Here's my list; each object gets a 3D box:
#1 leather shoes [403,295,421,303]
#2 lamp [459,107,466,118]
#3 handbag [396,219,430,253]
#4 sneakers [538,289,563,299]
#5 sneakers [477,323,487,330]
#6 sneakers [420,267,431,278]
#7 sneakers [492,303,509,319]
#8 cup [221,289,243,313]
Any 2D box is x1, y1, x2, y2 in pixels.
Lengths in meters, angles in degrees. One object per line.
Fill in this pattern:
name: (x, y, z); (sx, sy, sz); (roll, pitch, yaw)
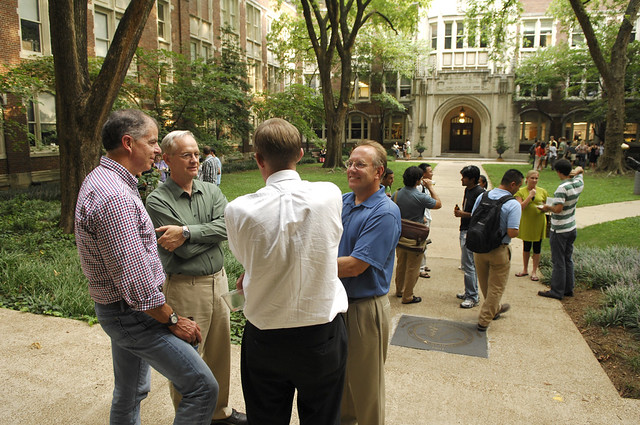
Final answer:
leather shoes: (1.659, 1.594, 9.152); (0.317, 0.135, 0.147); (-5, 9, -16)
lamp: (12.770, -8.947, 45.262); (0.352, 1.005, 1.828); (2, 5, 11)
handbag: (1.533, 0.397, 8.653); (0.597, 0.542, 0.353); (16, 21, 24)
sneakers: (4.238, 1.526, 9.298); (0.417, 0.170, 0.144); (13, 8, 35)
sneakers: (2.618, 1.855, 8.183); (0.089, 0.118, 0.122); (2, 2, 19)
sneakers: (2.168, 1.248, 10.411); (0.131, 0.181, 0.418); (-5, -20, 2)
sneakers: (3.010, 1.662, 8.440); (0.350, 0.150, 0.127); (-34, 39, -25)
cup: (-0.895, 0.920, 5.231); (0.218, 0.160, 0.220); (-5, -6, -1)
